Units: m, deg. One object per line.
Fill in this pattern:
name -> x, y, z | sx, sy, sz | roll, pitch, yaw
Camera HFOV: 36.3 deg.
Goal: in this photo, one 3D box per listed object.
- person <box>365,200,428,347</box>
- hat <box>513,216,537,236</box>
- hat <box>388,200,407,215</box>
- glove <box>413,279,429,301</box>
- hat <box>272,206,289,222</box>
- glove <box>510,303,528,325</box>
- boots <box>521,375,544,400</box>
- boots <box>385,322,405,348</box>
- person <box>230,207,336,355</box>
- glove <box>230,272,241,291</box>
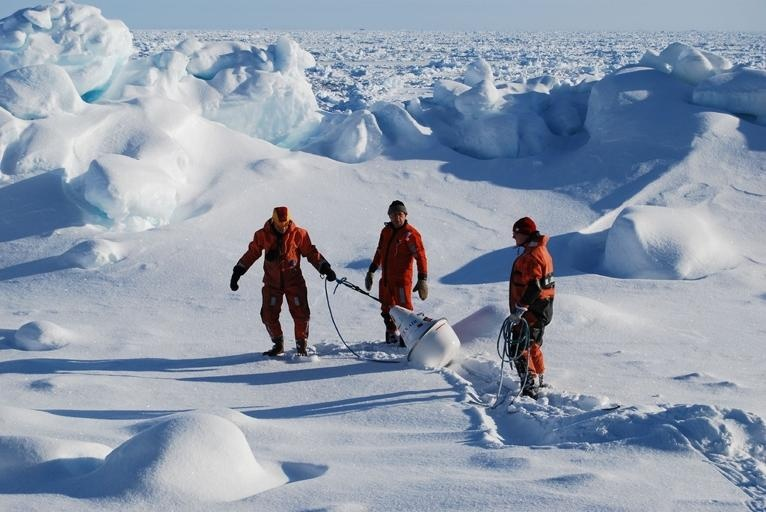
person -> 0.260, 0.340, 21.355 | 0.887, 2.555, 1.121 | -16, 32, -37
hat -> 2.426, -0.511, 20.156 | 0.284, 0.230, 0.392 | 9, 11, -40
hat -> 0.242, -0.889, 21.319 | 0.321, 0.203, 0.290 | -2, 3, -8
glove -> 0.770, 0.621, 21.281 | 0.204, 0.364, 0.343 | -5, 8, -35
hat -> -1.827, -0.773, 20.819 | 0.296, 0.259, 0.371 | 5, 23, 3
glove -> 2.304, 0.992, 20.000 | 0.356, 0.313, 0.330 | 7, 3, 2
boots -> 2.584, 2.242, 20.147 | 0.329, 0.343, 0.562 | 12, 24, 18
boots -> 0.171, 1.469, 21.477 | 0.385, 0.426, 0.456 | -6, -20, -6
person -> -1.821, 0.460, 20.943 | 1.484, 2.651, 1.021 | 14, 27, 20
glove -> -2.681, 0.448, 20.961 | 0.257, 0.361, 0.150 | 5, -16, 4
